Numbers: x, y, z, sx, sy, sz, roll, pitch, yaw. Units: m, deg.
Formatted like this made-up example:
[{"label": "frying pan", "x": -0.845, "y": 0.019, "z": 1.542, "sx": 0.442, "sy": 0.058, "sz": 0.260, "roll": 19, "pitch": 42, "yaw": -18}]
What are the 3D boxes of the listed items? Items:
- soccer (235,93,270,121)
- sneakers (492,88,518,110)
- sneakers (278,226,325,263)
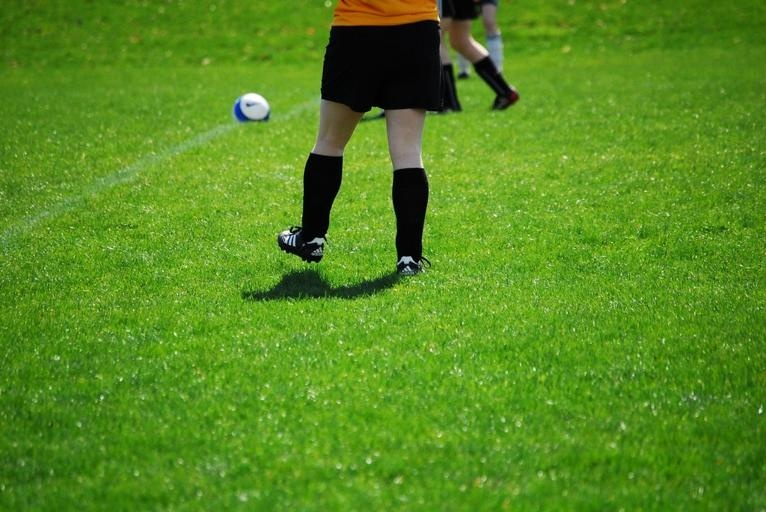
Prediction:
[{"label": "soccer", "x": -1.422, "y": -1.582, "z": 9.665, "sx": 0.298, "sy": 0.326, "sz": 0.305, "roll": -7, "pitch": -25, "yaw": -13}, {"label": "sneakers", "x": 1.359, "y": -1.716, "z": 9.946, "sx": 0.156, "sy": 0.155, "sz": 0.356, "roll": 18, "pitch": -34, "yaw": -42}, {"label": "sneakers", "x": -0.596, "y": -0.127, "z": 6.413, "sx": 0.411, "sy": 0.241, "sz": 0.160, "roll": 23, "pitch": 23, "yaw": 32}]
